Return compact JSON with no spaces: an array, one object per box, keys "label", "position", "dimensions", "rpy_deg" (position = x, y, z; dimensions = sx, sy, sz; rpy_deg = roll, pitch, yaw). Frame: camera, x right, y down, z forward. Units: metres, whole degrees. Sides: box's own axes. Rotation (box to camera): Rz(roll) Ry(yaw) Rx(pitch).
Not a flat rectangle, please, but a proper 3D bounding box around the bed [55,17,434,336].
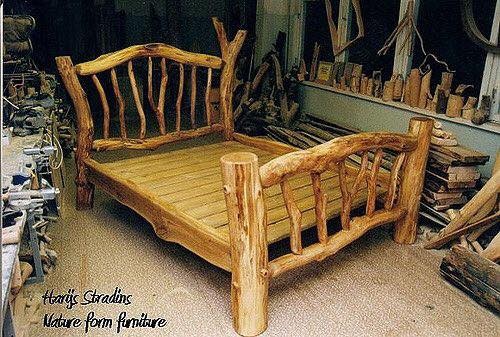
[{"label":"bed","position":[-0.458,0.097,4.154],"dimensions":[3.087,2.592,3.660],"rpy_deg":[-13,23,-33]}]
